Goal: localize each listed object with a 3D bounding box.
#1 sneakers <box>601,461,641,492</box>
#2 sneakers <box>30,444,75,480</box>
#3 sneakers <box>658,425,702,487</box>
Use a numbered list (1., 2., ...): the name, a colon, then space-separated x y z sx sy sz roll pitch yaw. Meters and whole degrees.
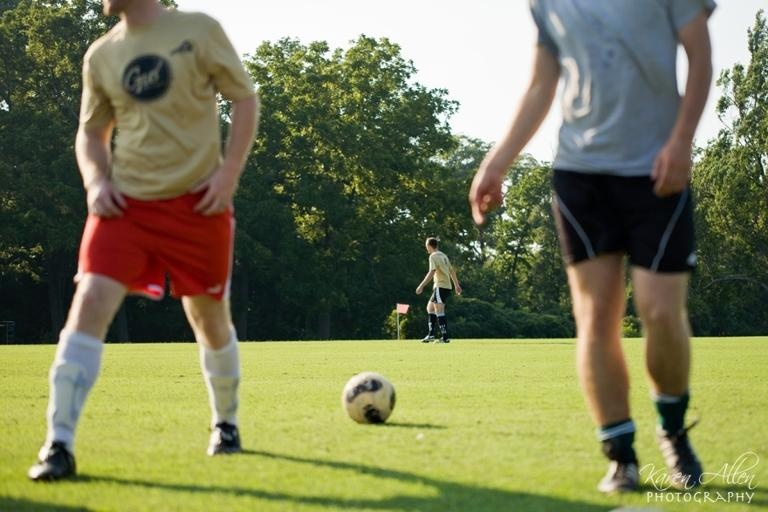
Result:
1. sneakers: 1.124 1.053 4.139 0.220 0.139 0.136 1 -9 -3
2. sneakers: -1.648 1.048 4.383 0.233 0.185 0.135 4 -12 -8
3. sneakers: 1.425 0.973 4.281 0.122 0.143 0.339 -14 32 4
